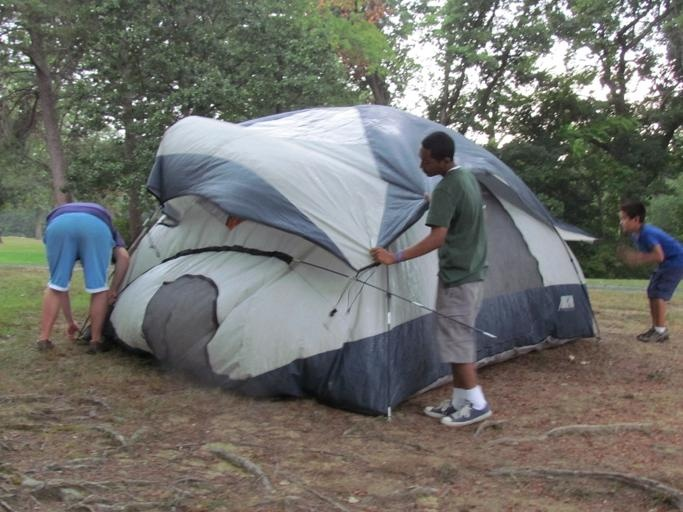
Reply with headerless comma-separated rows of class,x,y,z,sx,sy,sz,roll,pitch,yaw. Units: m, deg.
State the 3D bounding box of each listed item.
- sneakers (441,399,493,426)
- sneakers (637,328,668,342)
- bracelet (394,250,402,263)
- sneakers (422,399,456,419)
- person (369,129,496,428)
sneakers,1.253,1.588,6.792,0.529,0.186,0.192,-5,-3,-14
sneakers,4.271,1.080,9.176,0.340,0.150,0.193,0,0,14
bracelet,0.574,0.014,6.736,0.044,0.083,0.085,4,3,-22
sneakers,1.016,1.577,6.894,0.139,0.134,0.344,3,-6,-45
person,1.140,0.228,6.728,0.983,2.839,0.730,15,20,42
